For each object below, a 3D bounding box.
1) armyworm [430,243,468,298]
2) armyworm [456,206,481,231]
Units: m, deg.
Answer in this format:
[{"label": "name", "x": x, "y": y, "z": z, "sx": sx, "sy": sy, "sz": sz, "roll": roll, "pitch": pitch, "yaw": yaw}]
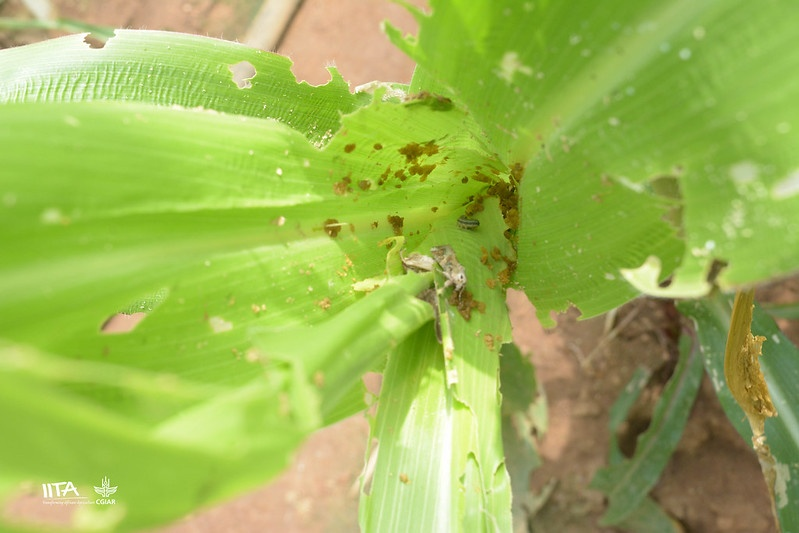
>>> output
[{"label": "armyworm", "x": 0.080, "y": -0.007, "z": 0.946, "sx": 0.065, "sy": 0.085, "sz": 0.027, "roll": -7, "pitch": -39, "yaw": 10}, {"label": "armyworm", "x": 0.111, "y": -0.075, "z": 1.009, "sx": 0.037, "sy": 0.033, "sz": 0.022, "roll": 23, "pitch": 8, "yaw": 4}]
